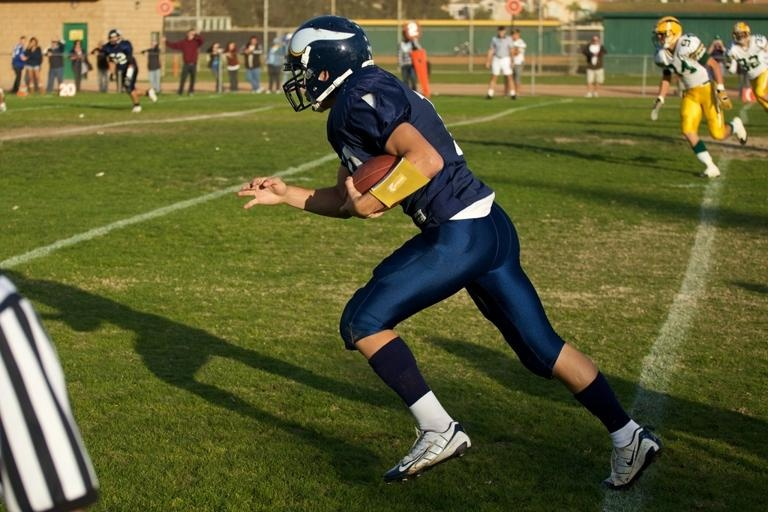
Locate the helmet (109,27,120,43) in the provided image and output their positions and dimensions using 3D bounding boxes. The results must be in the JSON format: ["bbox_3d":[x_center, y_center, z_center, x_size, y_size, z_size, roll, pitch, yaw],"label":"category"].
[{"bbox_3d":[-6.547,-5.364,16.600,0.227,0.295,0.480,-6,15,-16],"label":"helmet"}]

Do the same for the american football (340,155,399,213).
[{"bbox_3d":[-0.067,-0.424,3.449,0.284,0.168,0.203,-33,14,-36],"label":"american football"}]

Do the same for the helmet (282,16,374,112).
[{"bbox_3d":[-0.293,-1.092,3.783,0.558,0.474,0.411,-3,15,13],"label":"helmet"}]
